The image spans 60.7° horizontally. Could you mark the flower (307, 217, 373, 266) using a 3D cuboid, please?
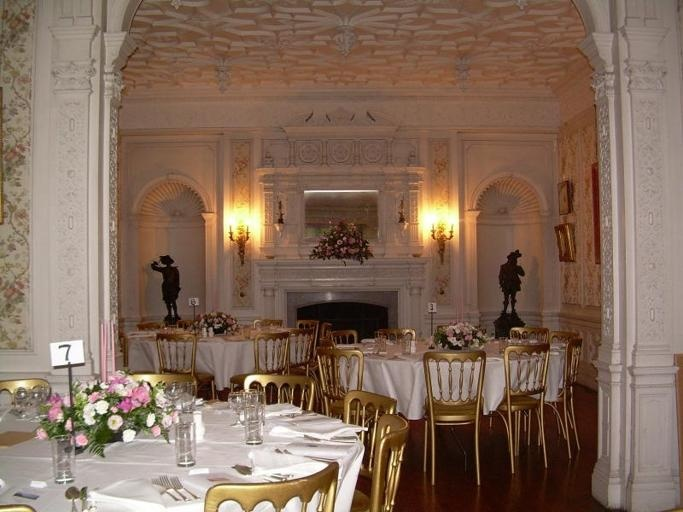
[{"bbox_3d":[-0.012,-0.199,9.850,0.779,0.434,0.808,-10,33,-16],"label":"flower"}]

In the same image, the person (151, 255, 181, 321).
[{"bbox_3d":[-2.982,0.542,9.920,0.458,1.040,1.557,-1,0,-18],"label":"person"}]

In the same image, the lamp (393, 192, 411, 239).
[{"bbox_3d":[1.049,-0.677,10.115,0.196,0.493,0.194,-1,1,-29],"label":"lamp"}]

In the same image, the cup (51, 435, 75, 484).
[{"bbox_3d":[-1.514,1.095,3.179,0.107,0.264,0.171,-1,0,-26],"label":"cup"}]

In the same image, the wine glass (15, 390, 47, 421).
[{"bbox_3d":[-2.145,1.025,4.032,0.204,0.234,0.207,1,-4,-22],"label":"wine glass"}]

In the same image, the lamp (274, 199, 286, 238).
[{"bbox_3d":[-1.090,-0.646,10.067,0.161,0.511,0.169,-1,1,18],"label":"lamp"}]

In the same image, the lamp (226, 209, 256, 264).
[{"bbox_3d":[-1.776,-0.313,10.076,0.402,0.782,0.120,-1,1,4],"label":"lamp"}]

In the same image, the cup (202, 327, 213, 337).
[{"bbox_3d":[-1.815,1.026,7.870,0.117,0.117,0.124,-1,-2,0],"label":"cup"}]

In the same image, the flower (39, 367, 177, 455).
[{"bbox_3d":[-1.413,0.942,3.529,0.524,0.344,0.521,7,-8,-41],"label":"flower"}]
